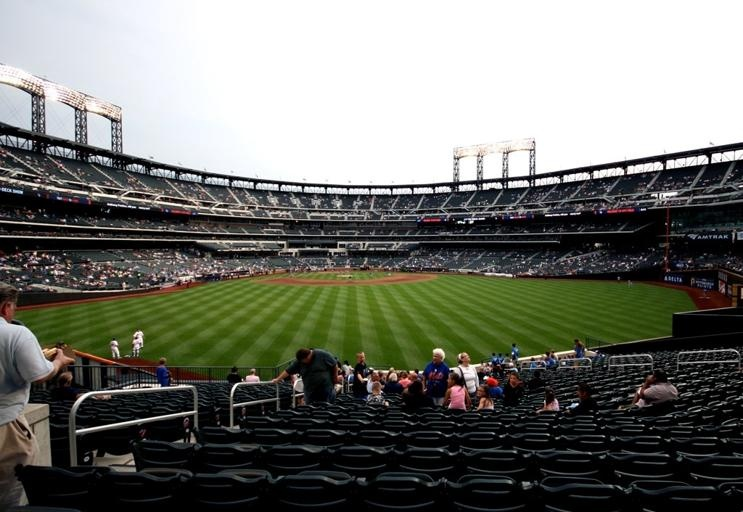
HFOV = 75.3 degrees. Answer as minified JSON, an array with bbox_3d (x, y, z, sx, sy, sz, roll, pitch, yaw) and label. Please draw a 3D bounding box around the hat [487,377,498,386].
[{"bbox_3d":[3.106,3.210,12.286,0.278,0.134,0.295,-2,-3,27],"label":"hat"}]
